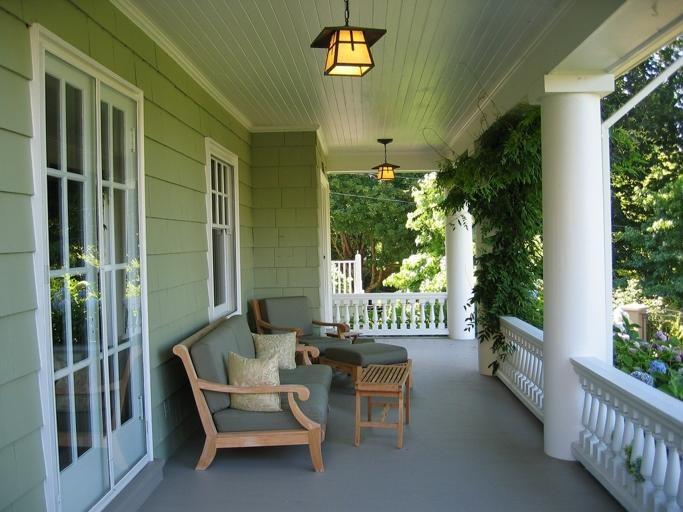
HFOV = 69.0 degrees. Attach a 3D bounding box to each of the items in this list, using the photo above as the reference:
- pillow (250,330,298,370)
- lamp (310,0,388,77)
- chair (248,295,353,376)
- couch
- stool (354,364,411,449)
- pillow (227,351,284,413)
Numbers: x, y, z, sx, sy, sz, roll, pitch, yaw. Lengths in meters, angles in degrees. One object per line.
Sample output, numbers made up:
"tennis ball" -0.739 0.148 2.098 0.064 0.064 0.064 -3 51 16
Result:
"pillow" -0.700 1.001 5.093 0.414 0.421 0.244 -1 -20 -8
"lamp" 0.031 -1.365 3.143 0.436 0.399 0.263 -1 4 -6
"chair" -0.526 0.993 6.305 1.143 0.975 1.085 -2 -3 24
"couch" -0.706 1.134 4.392 1.144 1.011 1.310 -1 4 1
"stool" 0.390 1.366 4.605 0.390 0.567 0.765 -1 -3 14
"pillow" -0.703 1.017 3.971 0.320 0.389 0.134 -5 -25 -3
